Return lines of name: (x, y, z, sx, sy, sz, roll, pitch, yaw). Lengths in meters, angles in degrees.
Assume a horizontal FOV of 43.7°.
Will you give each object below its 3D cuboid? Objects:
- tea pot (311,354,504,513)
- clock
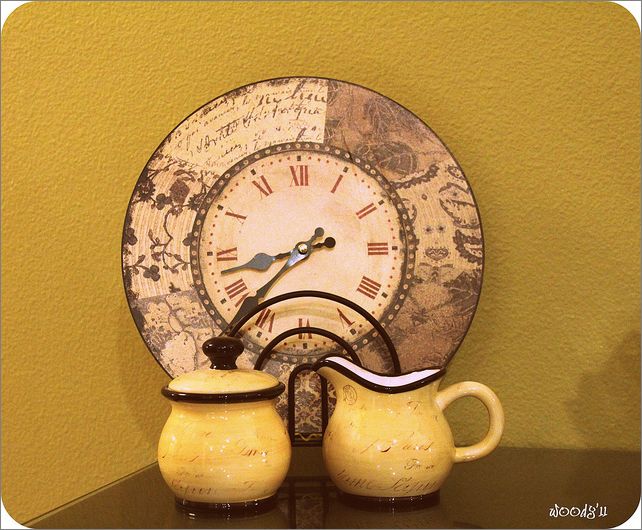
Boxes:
tea pot: (0.125, 0.235, 1.149, 0.272, 0.093, 0.201, -1, 73, 2)
clock: (-0.036, -0.068, 1.333, 0.601, 0.125, 0.482, -2, 73, 2)
